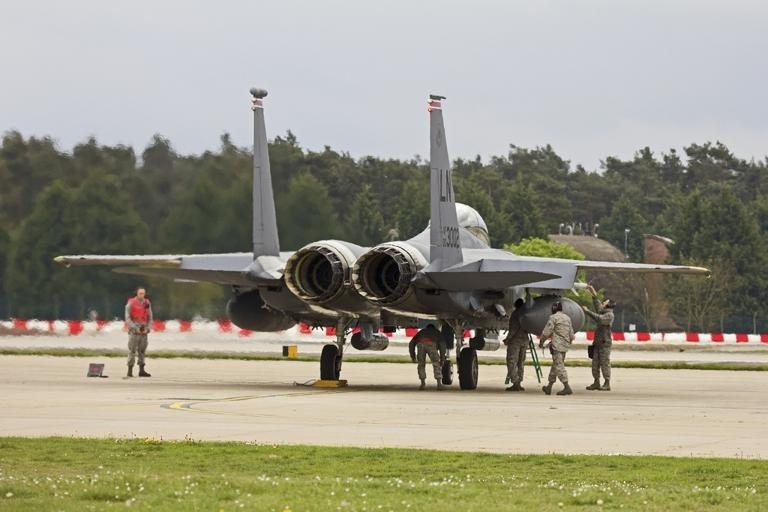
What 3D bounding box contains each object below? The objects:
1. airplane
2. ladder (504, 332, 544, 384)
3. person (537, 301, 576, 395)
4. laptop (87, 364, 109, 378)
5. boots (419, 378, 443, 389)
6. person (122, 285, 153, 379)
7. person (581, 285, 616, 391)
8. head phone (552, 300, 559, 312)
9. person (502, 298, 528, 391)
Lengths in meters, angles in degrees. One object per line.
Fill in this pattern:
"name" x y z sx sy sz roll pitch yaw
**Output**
"airplane" -0.105 -0.492 50.445 13.208 9.890 5.215 -1 -4 6
"ladder" 4.805 3.624 53.084 1.199 1.927 1.181 2 -2 -2
"person" 5.664 3.053 50.323 1.086 3.057 1.316 -1 -4 5
"laptop" -10.027 4.020 53.143 0.651 0.403 0.526 1 6 12
"boots" 1.510 4.284 50.628 0.525 0.346 0.310 1 37 0
"person" -8.498 2.606 53.076 1.147 3.018 0.954 1 -2 7
"person" 7.072 2.796 51.181 1.245 3.347 0.956 3 1 22
"head phone" 5.590 1.712 49.979 0.320 0.271 0.212 5 -3 10
"person" 4.376 3.002 50.735 0.963 2.672 0.995 1 -2 12
